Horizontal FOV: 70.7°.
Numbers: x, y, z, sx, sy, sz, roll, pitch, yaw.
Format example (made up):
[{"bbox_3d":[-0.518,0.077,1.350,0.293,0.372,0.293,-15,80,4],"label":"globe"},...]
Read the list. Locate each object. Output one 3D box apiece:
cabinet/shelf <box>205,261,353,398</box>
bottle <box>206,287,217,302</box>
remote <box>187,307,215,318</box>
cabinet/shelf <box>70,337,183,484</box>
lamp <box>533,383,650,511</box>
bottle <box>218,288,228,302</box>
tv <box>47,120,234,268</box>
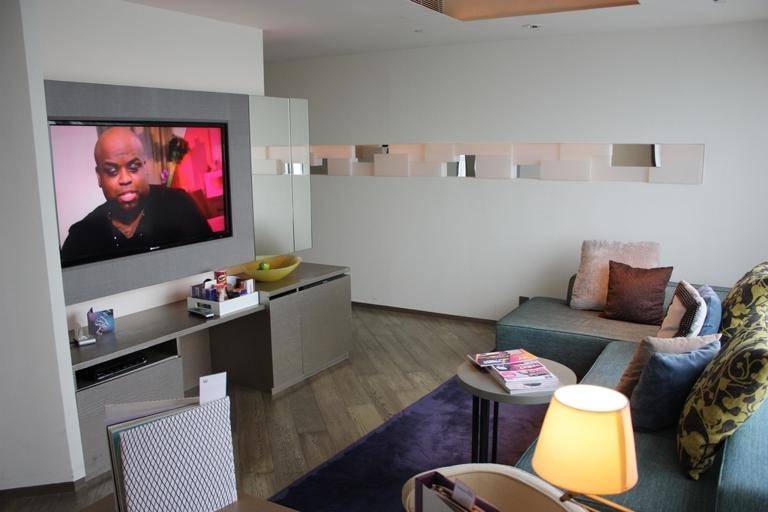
[{"bbox_3d":[-0.981,0.676,5.235,0.735,0.889,1.301,2,7,28],"label":"cabinet/shelf"},{"bbox_3d":[-1.384,0.305,4.359,0.087,0.104,0.025,-6,14,-17],"label":"bottle"},{"bbox_3d":[-1.458,0.440,4.302,0.168,0.036,0.083,7,18,19],"label":"remote"},{"bbox_3d":[-1.845,1.071,3.927,0.753,0.793,0.311,-13,16,-38],"label":"cabinet/shelf"},{"bbox_3d":[0.875,0.867,2.327,0.371,0.583,0.337,8,16,38],"label":"lamp"},{"bbox_3d":[-1.310,0.308,4.394,0.071,0.108,0.200,-6,13,-15],"label":"bottle"},{"bbox_3d":[-1.865,-0.471,4.054,0.054,0.788,1.237,6,11,31],"label":"tv"}]
